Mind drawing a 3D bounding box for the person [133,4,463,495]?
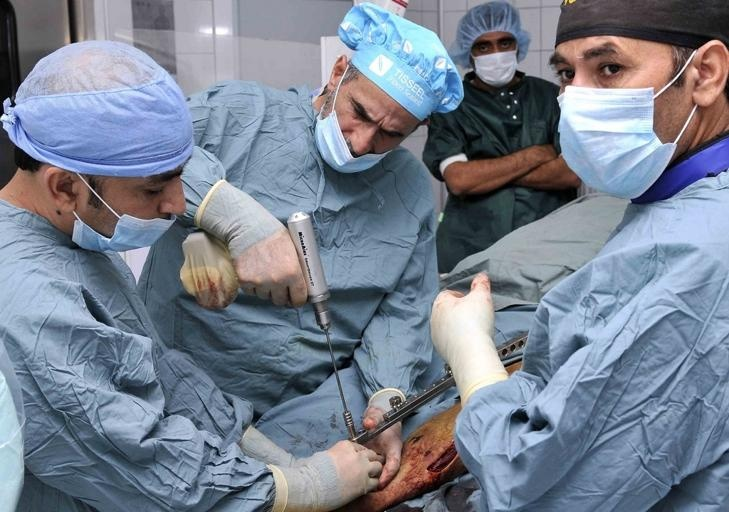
[{"bbox_3d":[-0.255,0.117,2.925,0.851,1.804,1.008,2,21,-20],"label":"person"}]

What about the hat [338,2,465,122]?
[{"bbox_3d":[0.139,-0.656,2.813,0.324,0.431,0.342,-6,26,-36],"label":"hat"}]

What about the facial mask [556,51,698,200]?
[{"bbox_3d":[0.611,-0.272,2.038,0.315,0.218,0.283,-37,23,-17],"label":"facial mask"}]

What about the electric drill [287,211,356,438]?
[{"bbox_3d":[-0.118,0.224,2.507,0.069,0.710,0.074,-15,-6,8],"label":"electric drill"}]

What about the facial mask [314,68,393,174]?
[{"bbox_3d":[-0.030,-0.456,2.773,0.216,0.351,0.261,2,17,4],"label":"facial mask"}]

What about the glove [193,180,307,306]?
[{"bbox_3d":[-0.311,-0.033,2.514,0.395,0.238,0.110,42,5,5],"label":"glove"}]

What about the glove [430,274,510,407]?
[{"bbox_3d":[0.276,0.219,2.124,0.078,0.180,0.290,33,27,-39],"label":"glove"}]
